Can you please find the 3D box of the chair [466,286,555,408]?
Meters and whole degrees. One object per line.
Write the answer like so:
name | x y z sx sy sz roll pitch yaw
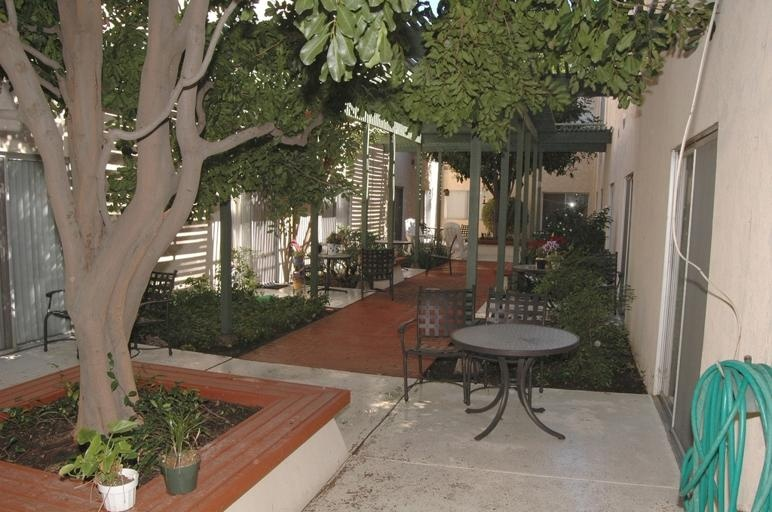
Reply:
chair | 1.249 0.978 5.820 0.914 1.137 0.905 -4 7 -31

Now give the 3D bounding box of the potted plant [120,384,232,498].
potted plant | -1.388 1.122 3.606 0.458 0.479 0.633 2 8 -8

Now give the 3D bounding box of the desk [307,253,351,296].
desk | -1.172 0.284 11.531 0.911 1.020 2.499 0 9 -8

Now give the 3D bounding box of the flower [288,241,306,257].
flower | -1.970 -0.137 12.394 0.217 0.490 0.276 -9 -17 13

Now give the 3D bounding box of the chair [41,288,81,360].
chair | -4.091 0.811 7.152 0.531 0.728 0.542 -4 -6 -1

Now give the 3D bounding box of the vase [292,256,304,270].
vase | -1.871 0.161 12.112 0.251 0.296 0.261 -4 -4 25
